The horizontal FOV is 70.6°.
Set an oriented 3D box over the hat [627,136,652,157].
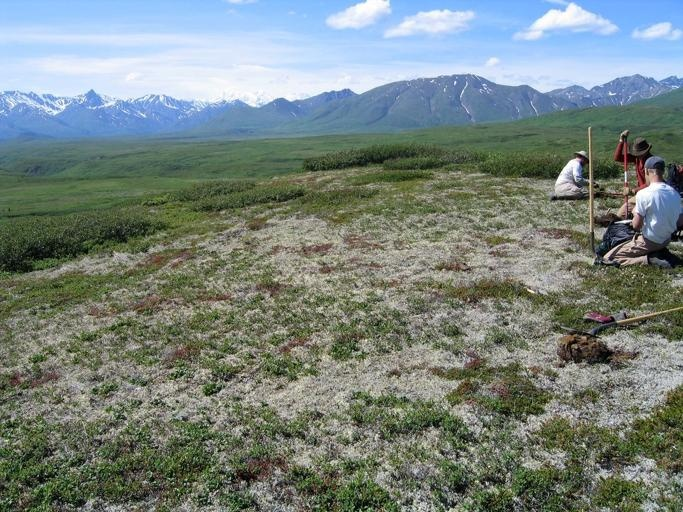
[{"bbox_3d":[12.374,-4.464,19.938,0.691,0.838,1.209,3,19,30],"label":"hat"}]
